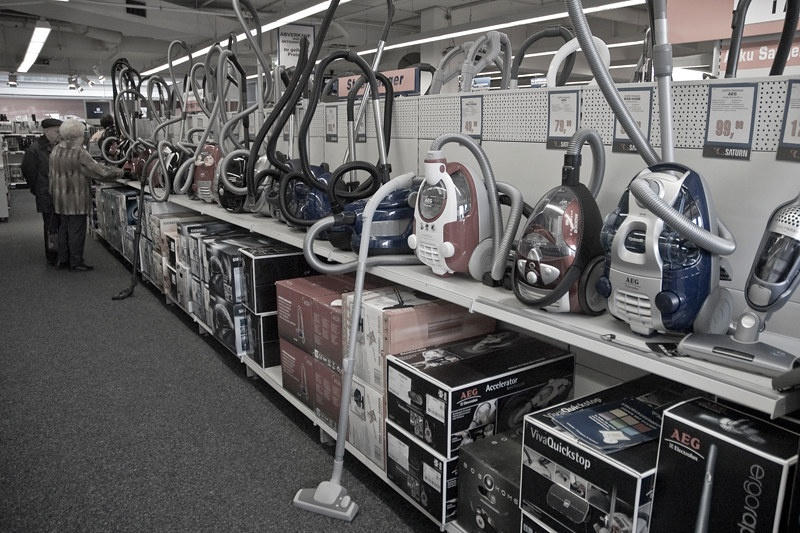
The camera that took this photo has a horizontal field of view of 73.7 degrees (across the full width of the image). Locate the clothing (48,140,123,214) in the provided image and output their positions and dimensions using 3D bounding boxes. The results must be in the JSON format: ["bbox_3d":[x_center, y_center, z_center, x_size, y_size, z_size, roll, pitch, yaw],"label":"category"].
[{"bbox_3d":[-3.853,-1.087,6.511,0.817,0.809,0.479,30,33,27],"label":"clothing"}]

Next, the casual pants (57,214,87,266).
[{"bbox_3d":[-4.018,-0.303,6.500,0.388,0.688,0.208,4,14,11],"label":"casual pants"}]

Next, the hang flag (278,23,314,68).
[{"bbox_3d":[-1.786,-3.728,9.069,0.638,0.883,0.043,1,-15,-6],"label":"hang flag"}]
